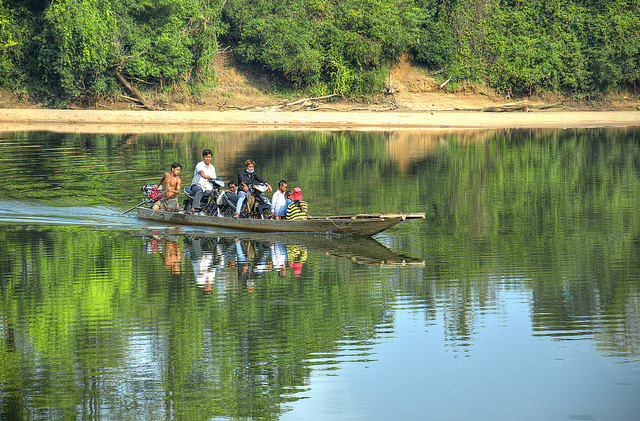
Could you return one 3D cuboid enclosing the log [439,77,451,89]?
[{"bbox_3d":[12.333,-12.674,111.104,1.242,0.190,0.146,-34,40,-17],"label":"log"}]

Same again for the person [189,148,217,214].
[{"bbox_3d":[-6.199,-1.548,58.560,1.363,3.227,0.893,-3,13,-7],"label":"person"}]

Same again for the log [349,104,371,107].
[{"bbox_3d":[3.864,-10.103,106.746,1.912,0.144,0.281,-5,12,-19],"label":"log"}]

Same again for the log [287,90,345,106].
[{"bbox_3d":[-0.703,-10.789,105.989,4.735,0.381,0.822,-13,34,-23],"label":"log"}]

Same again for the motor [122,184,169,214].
[{"bbox_3d":[-9.166,-0.628,59.322,1.556,1.565,2.053,-10,14,-33],"label":"motor"}]

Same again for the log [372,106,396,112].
[{"bbox_3d":[5.928,-9.641,105.273,1.789,0.089,3.868,3,12,22],"label":"log"}]

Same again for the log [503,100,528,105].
[{"bbox_3d":[19.513,-10.732,110.929,0.610,0.302,4.197,-19,-4,39],"label":"log"}]

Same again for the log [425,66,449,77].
[{"bbox_3d":[11.400,-13.956,111.373,3.046,0.602,0.394,-8,42,3],"label":"log"}]
